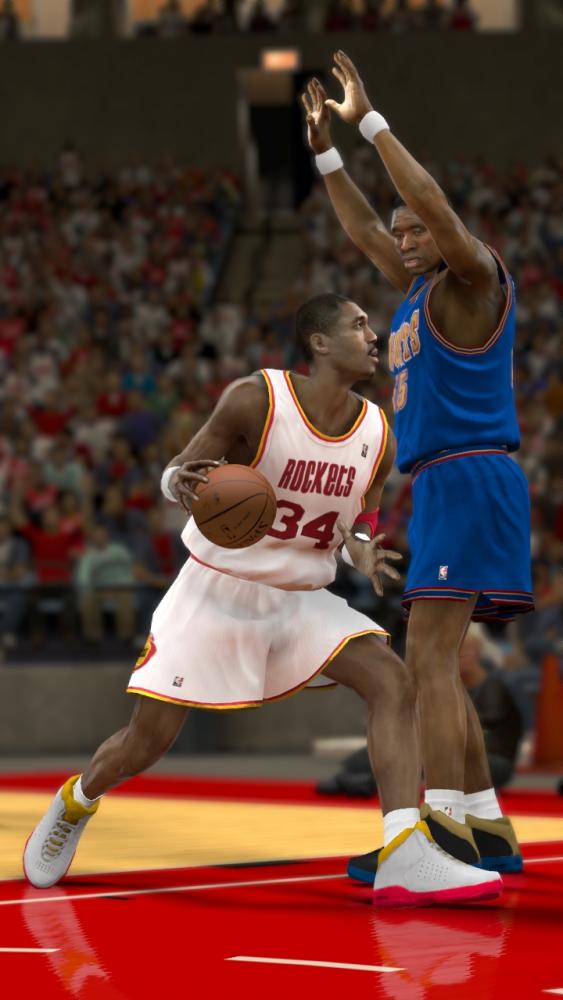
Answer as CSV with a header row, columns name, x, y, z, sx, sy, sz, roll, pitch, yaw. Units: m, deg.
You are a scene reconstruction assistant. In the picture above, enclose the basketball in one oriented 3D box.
name,x,y,z,sx,sy,sz,roll,pitch,yaw
basketball,-0.097,-0.002,2.432,0.220,0.239,0.206,6,34,9
